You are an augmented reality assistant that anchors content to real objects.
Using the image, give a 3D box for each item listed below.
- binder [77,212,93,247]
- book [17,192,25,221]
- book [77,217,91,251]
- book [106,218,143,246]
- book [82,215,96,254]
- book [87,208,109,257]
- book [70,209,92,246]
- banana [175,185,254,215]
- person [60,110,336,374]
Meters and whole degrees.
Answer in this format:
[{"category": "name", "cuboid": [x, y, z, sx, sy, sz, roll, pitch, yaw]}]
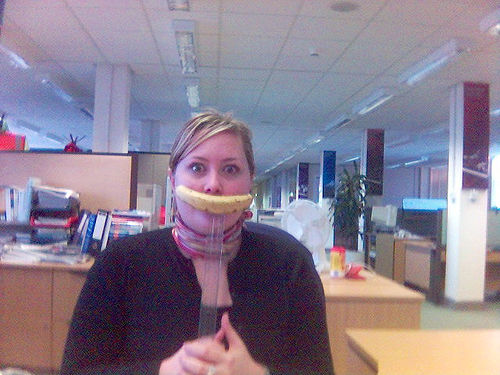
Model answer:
[{"category": "binder", "cuboid": [-1.093, 0.276, 2.506, 0.037, 0.160, 0.157, 15, -3, -7]}, {"category": "book", "cuboid": [-1.478, 0.123, 2.453, 0.036, 0.151, 0.072, 4, 1, -32]}, {"category": "book", "cuboid": [-1.095, 0.300, 2.494, 0.039, 0.160, 0.160, 20, -32, -11]}, {"category": "book", "cuboid": [-0.646, 0.223, 1.965, 0.194, 0.185, 0.046, 6, -7, 3]}, {"category": "book", "cuboid": [-1.057, 0.300, 2.495, 0.044, 0.190, 0.188, 11, -2, -6]}, {"category": "book", "cuboid": [-0.975, 0.304, 2.510, 0.059, 0.254, 0.168, 4, 4, -11]}, {"category": "book", "cuboid": [-1.112, 0.263, 2.508, 0.041, 0.181, 0.179, 21, -12, -4]}, {"category": "banana", "cuboid": [-0.097, 0.036, 1.003, 0.207, 0.071, 0.096, 4, 0, 0]}, {"category": "person", "cuboid": [-0.130, 0.171, 1.096, 0.784, 0.711, 0.263, 4, 1, 9]}]
